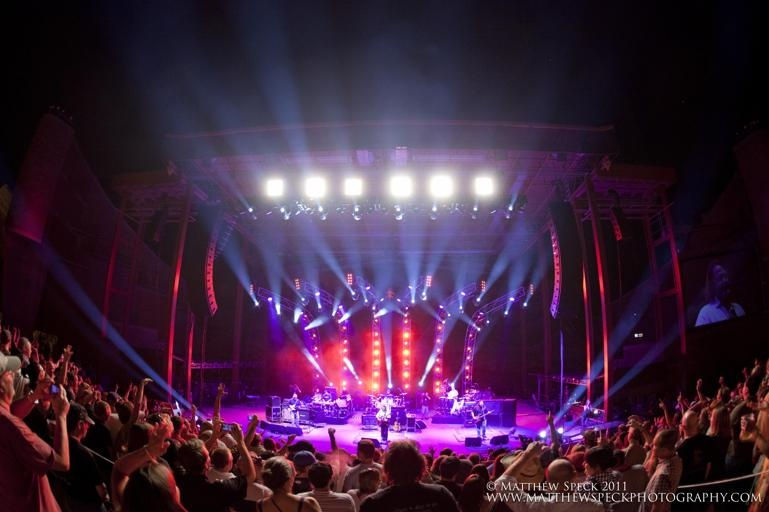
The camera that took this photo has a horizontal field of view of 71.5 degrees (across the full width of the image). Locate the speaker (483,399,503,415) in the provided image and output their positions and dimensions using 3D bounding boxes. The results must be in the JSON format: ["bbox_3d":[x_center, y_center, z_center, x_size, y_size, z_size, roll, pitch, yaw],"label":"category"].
[{"bbox_3d":[3.796,5.203,18.549,0.957,0.654,0.528,-1,-12,5],"label":"speaker"}]

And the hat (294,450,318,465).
[{"bbox_3d":[-1.358,3.442,9.162,0.321,0.130,0.235,4,-1,-35],"label":"hat"}]

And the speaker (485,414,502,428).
[{"bbox_3d":[3.862,5.748,18.691,0.453,0.424,0.448,-3,-16,11],"label":"speaker"}]

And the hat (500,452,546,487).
[{"bbox_3d":[2.266,3.517,8.812,0.633,0.240,0.609,5,-11,26],"label":"hat"}]

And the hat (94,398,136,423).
[{"bbox_3d":[-5.185,2.970,10.293,0.638,0.662,0.266,-4,14,7],"label":"hat"}]
